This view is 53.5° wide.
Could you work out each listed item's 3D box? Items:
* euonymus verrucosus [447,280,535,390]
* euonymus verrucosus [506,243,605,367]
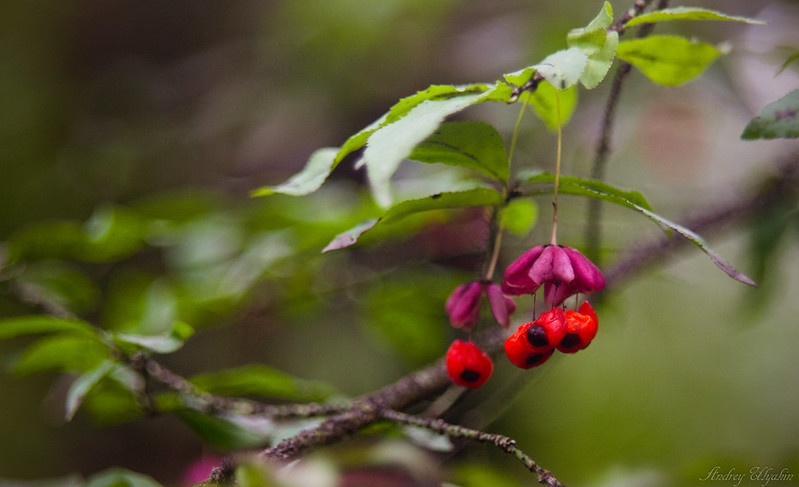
[{"bbox_3d":[0.203,0.180,1.767,0.109,0.284,0.164,3,2,16],"label":"euonymus verrucosus"},{"bbox_3d":[0.337,0.145,1.749,0.234,0.286,0.199,-10,-27,10],"label":"euonymus verrucosus"}]
